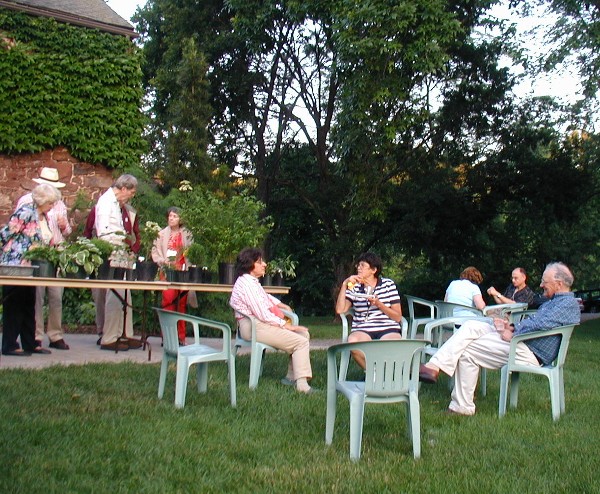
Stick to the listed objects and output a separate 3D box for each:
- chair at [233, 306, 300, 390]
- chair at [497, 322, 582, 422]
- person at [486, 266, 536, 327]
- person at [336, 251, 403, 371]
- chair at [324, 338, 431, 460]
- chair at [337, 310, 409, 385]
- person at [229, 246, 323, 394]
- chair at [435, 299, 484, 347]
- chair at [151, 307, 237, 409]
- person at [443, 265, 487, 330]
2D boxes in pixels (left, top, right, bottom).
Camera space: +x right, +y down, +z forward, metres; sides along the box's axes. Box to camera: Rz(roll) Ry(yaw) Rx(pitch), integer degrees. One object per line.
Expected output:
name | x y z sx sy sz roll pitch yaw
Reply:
chair | -0.483 1.254 8.252 0.699 1.197 0.827 -1 2 -17
chair | 2.518 1.286 7.159 0.643 1.065 0.758 4 4 12
person | 3.358 0.790 10.640 0.598 0.924 0.542 5 10 27
person | 0.830 0.813 7.819 0.724 1.438 0.703 -6 3 -15
chair | 0.711 1.356 6.165 0.837 1.292 0.866 -3 8 7
chair | 0.885 1.170 7.750 0.709 1.204 0.765 0 2 -2
person | -0.325 0.918 8.014 0.859 1.879 0.707 -8 -10 9
chair | 2.035 0.949 8.743 0.461 0.777 0.504 -5 4 -24
chair | -1.093 1.144 7.087 0.722 1.144 0.834 0 4 -4
person | 2.382 0.791 9.300 0.507 1.126 0.452 -21 21 -38
